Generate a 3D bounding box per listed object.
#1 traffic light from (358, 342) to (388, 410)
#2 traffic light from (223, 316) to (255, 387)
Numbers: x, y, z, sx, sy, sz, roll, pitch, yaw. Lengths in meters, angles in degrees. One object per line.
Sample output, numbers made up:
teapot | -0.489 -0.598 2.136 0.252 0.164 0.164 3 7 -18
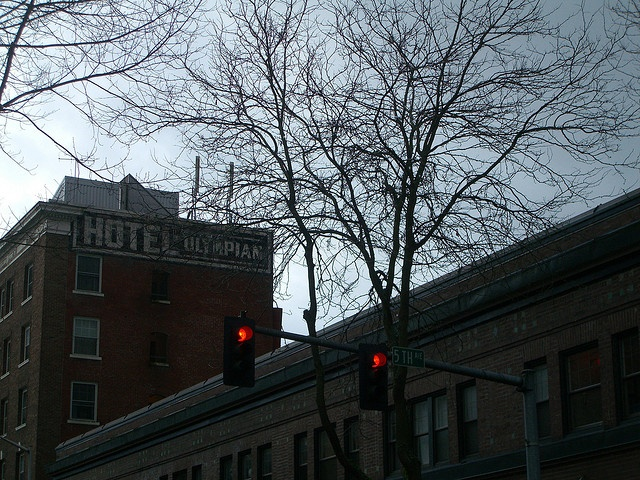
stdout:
traffic light | 1.348 3.222 29.304 0.712 0.566 1.782 2 -69 9
traffic light | -1.967 2.660 28.862 0.737 1.609 0.860 2 -29 -5
